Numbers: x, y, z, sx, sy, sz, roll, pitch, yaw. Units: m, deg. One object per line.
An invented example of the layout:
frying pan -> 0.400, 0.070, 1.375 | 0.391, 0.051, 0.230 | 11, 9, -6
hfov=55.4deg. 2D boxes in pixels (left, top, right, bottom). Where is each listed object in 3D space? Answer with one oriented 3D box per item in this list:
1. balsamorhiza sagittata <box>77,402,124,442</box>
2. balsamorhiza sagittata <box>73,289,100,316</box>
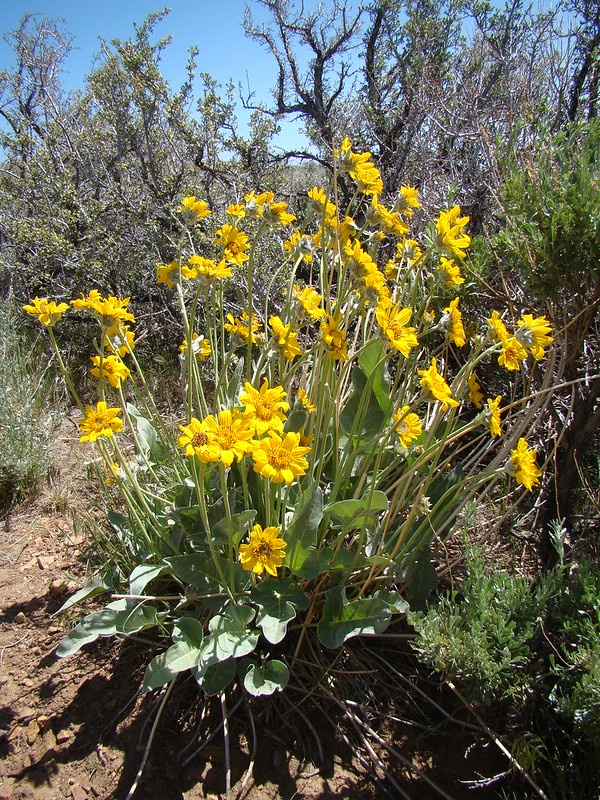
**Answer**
balsamorhiza sagittata -> -0.493, 0.050, 1.444 | 0.109, 0.118, 0.036 | -17, -18, -6
balsamorhiza sagittata -> -0.583, -0.270, 1.555 | 0.056, 0.060, 0.189 | 4, 0, -24
